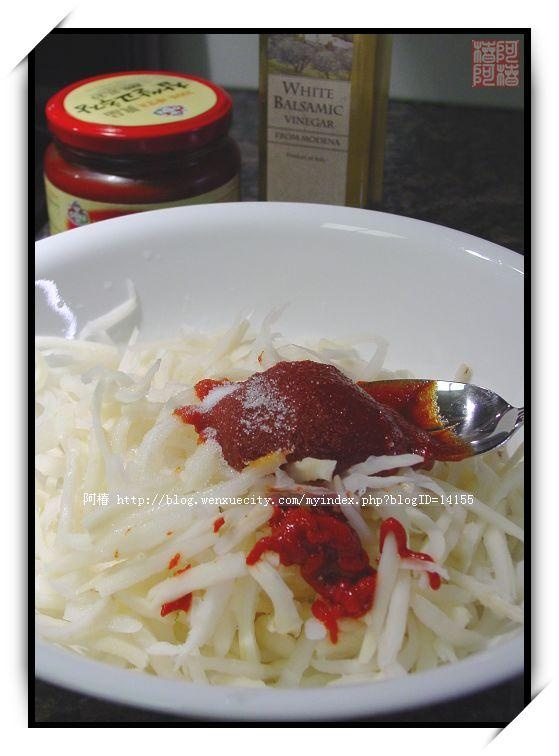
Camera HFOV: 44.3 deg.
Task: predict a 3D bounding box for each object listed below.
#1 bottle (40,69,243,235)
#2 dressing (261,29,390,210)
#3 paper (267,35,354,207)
[{"bbox_3d":[-0.179,-0.261,0.896,0.244,0.206,0.227,-2,45,-9],"label":"bottle"},{"bbox_3d":[0.049,-0.317,0.859,0.159,0.201,0.070,14,27,18],"label":"dressing"},{"bbox_3d":[0.036,-0.321,0.863,0.118,0.255,0.027,4,-10,-6],"label":"paper"}]
